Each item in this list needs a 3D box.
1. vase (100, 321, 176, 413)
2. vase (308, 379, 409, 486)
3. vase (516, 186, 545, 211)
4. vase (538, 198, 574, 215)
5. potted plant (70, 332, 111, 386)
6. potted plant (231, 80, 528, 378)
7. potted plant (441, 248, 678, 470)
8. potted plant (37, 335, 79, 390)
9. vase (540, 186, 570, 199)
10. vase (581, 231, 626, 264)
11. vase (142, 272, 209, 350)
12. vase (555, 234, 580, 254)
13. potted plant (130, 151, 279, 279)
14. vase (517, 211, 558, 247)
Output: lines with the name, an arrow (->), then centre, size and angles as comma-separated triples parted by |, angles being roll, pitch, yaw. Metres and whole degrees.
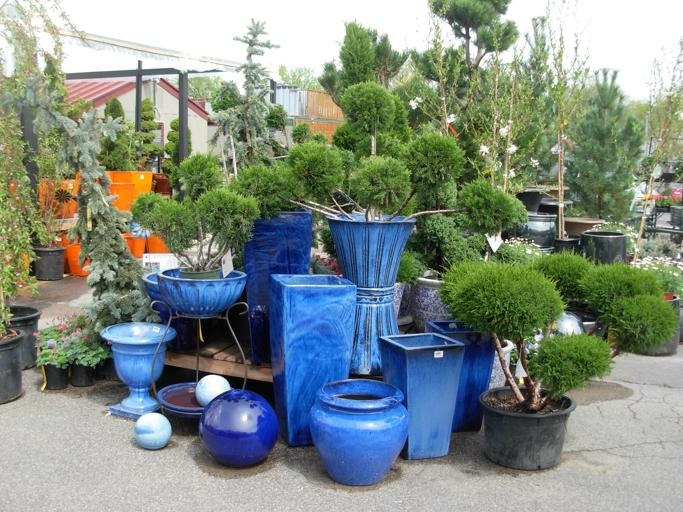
vase -> -1.768, 0.993, 4.770 | 0.665, 0.789, 0.678 | 0, 2, -27
vase -> 0.144, 1.164, 3.814 | 0.652, 0.606, 0.640 | -1, -5, 4
vase -> 3.605, -1.094, 10.224 | 0.492, 0.387, 0.523 | -2, 4, -2
vase -> 4.412, -1.024, 11.027 | 0.529, 0.429, 0.542 | 4, 7, 41
potted plant -> -2.384, 0.987, 5.194 | 0.404, 0.475, 0.436 | 2, -1, -23
potted plant -> 0.308, -0.067, 5.506 | 2.754, 3.127, 2.566 | 0, 7, -1
potted plant -> 1.547, 0.805, 3.973 | 1.528, 1.464, 0.821 | -1, 12, -14
potted plant -> -2.595, 0.965, 5.094 | 0.466, 0.523, 0.403 | 2, 0, -8
vase -> 4.502, -1.359, 11.305 | 0.510, 0.272, 0.783 | -3, 13, -4
vase -> 3.727, -0.176, 7.624 | 0.603, 0.500, 0.637 | 1, 22, 22
vase -> -1.555, 0.500, 5.012 | 0.624, 0.575, 0.695 | 3, 4, 30
vase -> 3.593, -0.190, 8.506 | 0.413, 0.332, 0.447 | -1, 1, -2
potted plant -> -1.309, -0.370, 4.828 | 1.086, 1.216, 1.088 | -3, 8, -16
vase -> 3.191, -0.341, 8.815 | 0.524, 0.612, 0.549 | 4, 9, 33
